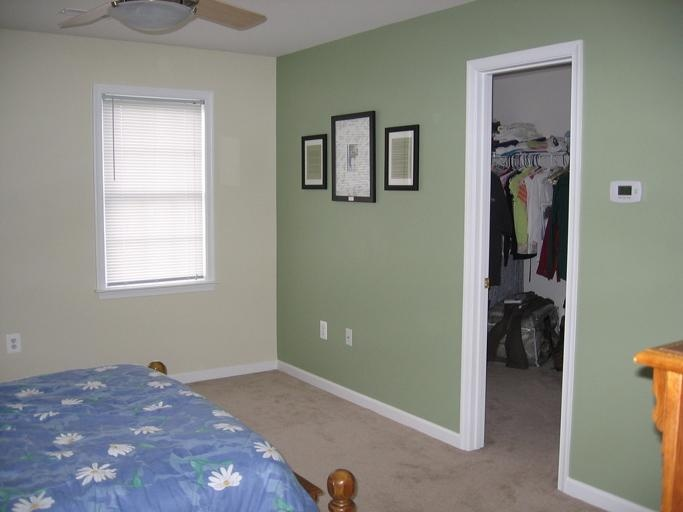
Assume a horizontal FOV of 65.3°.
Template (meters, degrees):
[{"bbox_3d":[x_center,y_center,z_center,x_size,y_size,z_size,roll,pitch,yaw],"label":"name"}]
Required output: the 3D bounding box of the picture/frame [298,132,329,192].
[{"bbox_3d":[-0.235,-0.833,4.683,0.055,0.471,0.340,-8,12,-40],"label":"picture/frame"}]
